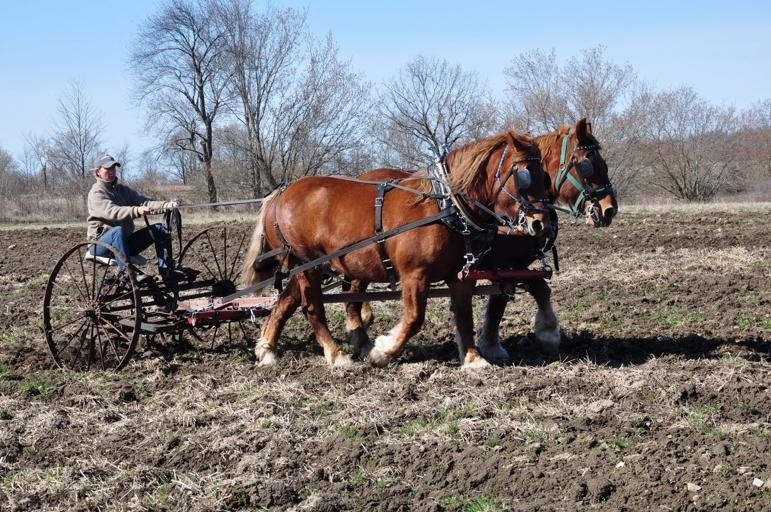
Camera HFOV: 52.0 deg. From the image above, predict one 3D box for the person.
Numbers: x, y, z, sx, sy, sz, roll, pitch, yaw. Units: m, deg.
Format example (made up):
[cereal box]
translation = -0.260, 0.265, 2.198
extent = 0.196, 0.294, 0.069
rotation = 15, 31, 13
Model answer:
[person]
translation = -3.312, -0.435, 9.992
extent = 1.242, 1.504, 1.069
rotation = -1, 4, 18

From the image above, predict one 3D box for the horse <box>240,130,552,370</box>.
[horse]
translation = 0.010, 0.023, 9.444
extent = 4.041, 2.659, 1.196
rotation = -4, -2, 25

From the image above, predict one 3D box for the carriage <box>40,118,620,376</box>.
[carriage]
translation = -0.836, -0.005, 9.977
extent = 6.257, 2.772, 2.803
rotation = 1, 13, 28
